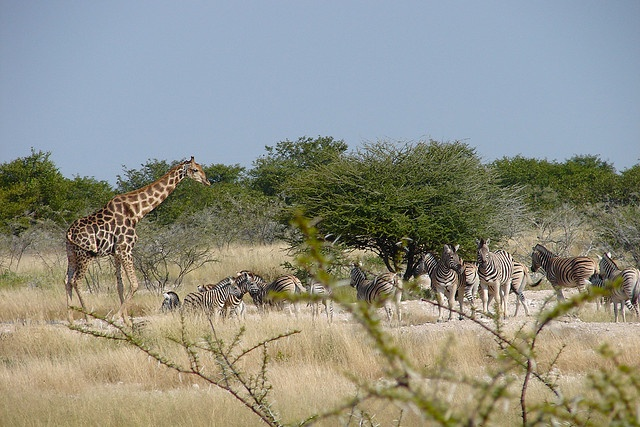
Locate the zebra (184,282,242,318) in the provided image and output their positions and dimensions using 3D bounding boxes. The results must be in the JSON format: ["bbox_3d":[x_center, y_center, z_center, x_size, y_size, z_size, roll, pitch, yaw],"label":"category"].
[{"bbox_3d":[-3.330,2.897,24.702,2.011,1.501,0.578,-8,-14,16],"label":"zebra"}]

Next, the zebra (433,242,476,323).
[{"bbox_3d":[4.019,2.219,24.223,0.827,2.491,3.284,3,-1,4],"label":"zebra"}]

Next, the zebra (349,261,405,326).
[{"bbox_3d":[1.660,2.504,23.873,0.686,1.799,2.050,-3,4,-40],"label":"zebra"}]

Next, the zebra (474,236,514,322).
[{"bbox_3d":[5.413,2.018,23.838,0.795,2.407,2.817,-1,-6,28],"label":"zebra"}]

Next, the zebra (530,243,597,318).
[{"bbox_3d":[7.963,2.090,24.859,0.650,2.228,2.612,-11,4,-32],"label":"zebra"}]
